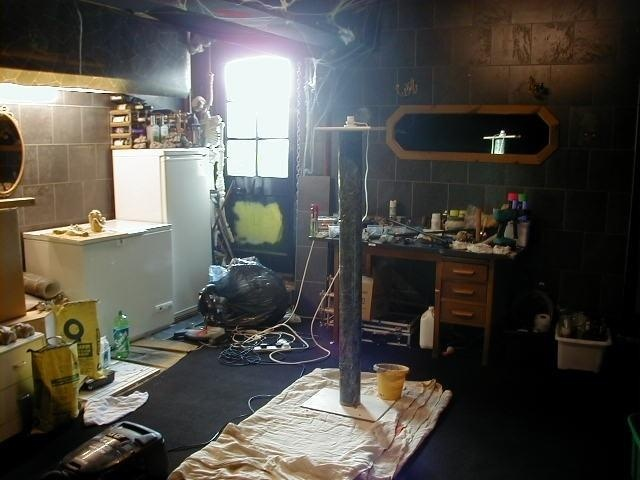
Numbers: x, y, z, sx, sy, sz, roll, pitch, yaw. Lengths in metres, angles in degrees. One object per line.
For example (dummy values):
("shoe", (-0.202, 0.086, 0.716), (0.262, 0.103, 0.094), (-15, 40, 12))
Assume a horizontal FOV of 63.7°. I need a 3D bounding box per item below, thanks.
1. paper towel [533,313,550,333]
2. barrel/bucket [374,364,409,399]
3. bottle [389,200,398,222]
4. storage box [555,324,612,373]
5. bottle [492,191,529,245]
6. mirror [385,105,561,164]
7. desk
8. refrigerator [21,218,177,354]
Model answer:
("paper towel", (1.903, 0.717, 4.431), (0.119, 0.160, 0.160), (-4, -4, 40))
("barrel/bucket", (0.505, 0.991, 3.709), (0.215, 0.179, 0.222), (1, 1, 0))
("bottle", (0.693, -0.287, 4.914), (0.079, 0.191, 0.159), (1, 10, 7))
("storage box", (2.063, 0.824, 4.080), (0.364, 0.294, 0.319), (2, 0, 11))
("bottle", (1.616, -0.166, 4.358), (0.274, 0.448, 0.539), (4, 11, 22))
("mirror", (1.319, -0.957, 4.625), (1.479, 0.523, 0.039), (4, 11, 21))
("desk", (0.907, 0.479, 4.562), (1.460, 0.947, 0.738), (2, 10, 12))
("refrigerator", (-1.980, 0.135, 5.066), (0.935, 1.398, 1.399), (3, 8, 23))
